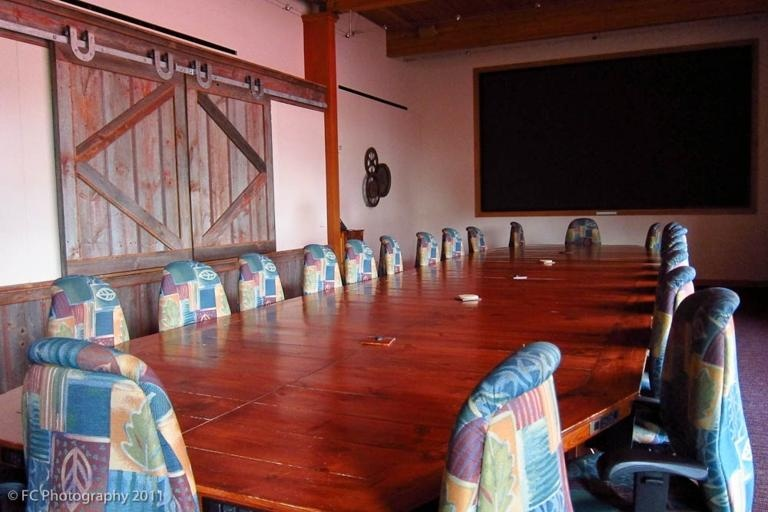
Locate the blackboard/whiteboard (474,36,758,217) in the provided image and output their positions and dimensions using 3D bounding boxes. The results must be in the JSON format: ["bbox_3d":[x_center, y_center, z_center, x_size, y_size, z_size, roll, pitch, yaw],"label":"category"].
[{"bbox_3d":[3.915,-2.138,8.835,2.944,1.778,0.069,-1,1,25],"label":"blackboard/whiteboard"}]
